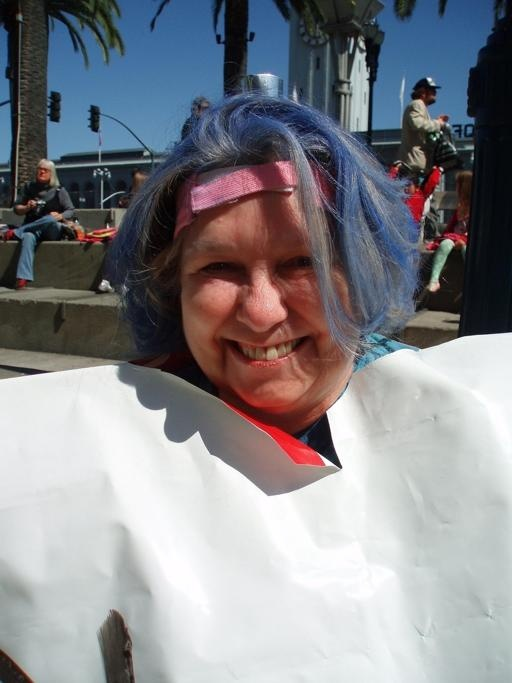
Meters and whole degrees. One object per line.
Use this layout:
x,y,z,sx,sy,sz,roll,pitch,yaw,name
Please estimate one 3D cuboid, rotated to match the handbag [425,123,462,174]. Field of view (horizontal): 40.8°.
1.827,-1.861,6.605,0.273,0.587,0.366,-9,-12,18,handbag
